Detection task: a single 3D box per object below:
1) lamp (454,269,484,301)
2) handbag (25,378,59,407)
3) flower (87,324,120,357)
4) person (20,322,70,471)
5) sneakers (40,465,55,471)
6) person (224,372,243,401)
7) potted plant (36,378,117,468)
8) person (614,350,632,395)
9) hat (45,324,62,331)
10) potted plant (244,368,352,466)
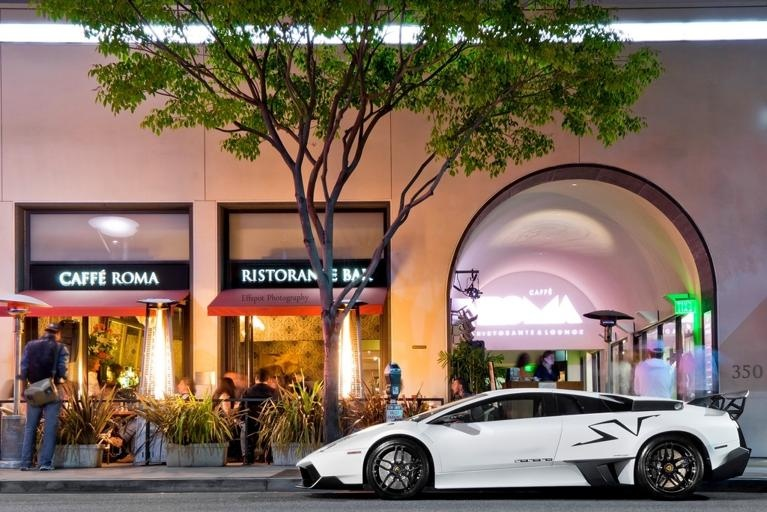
[{"bbox_3d":[3.189,1.022,32.141,1.324,1.476,1.451,-1,-1,7],"label":"lamp"},{"bbox_3d":[-7.150,2.868,17.430,0.487,0.456,0.316,-18,3,-11],"label":"handbag"},{"bbox_3d":[-8.083,2.346,23.775,0.758,0.886,0.754,-6,25,-39],"label":"flower"},{"bbox_3d":[-7.230,2.961,17.650,0.929,3.090,0.737,0,-13,-6],"label":"person"},{"bbox_3d":[-7.080,4.460,17.552,0.323,0.098,0.211,10,-18,-40],"label":"sneakers"},{"bbox_3d":[-3.780,3.270,20.817,0.434,0.843,0.566,-6,-2,10],"label":"person"},{"bbox_3d":[-6.645,3.836,18.582,1.554,1.862,1.642,2,-13,-5],"label":"potted plant"},{"bbox_3d":[8.273,4.006,28.801,0.551,1.837,0.422,3,36,14],"label":"person"},{"bbox_3d":[-7.256,1.576,18.299,0.328,0.109,0.316,0,1,-9],"label":"hat"},{"bbox_3d":[-2.253,3.666,18.825,1.983,1.493,2.026,1,-12,-1],"label":"potted plant"}]
